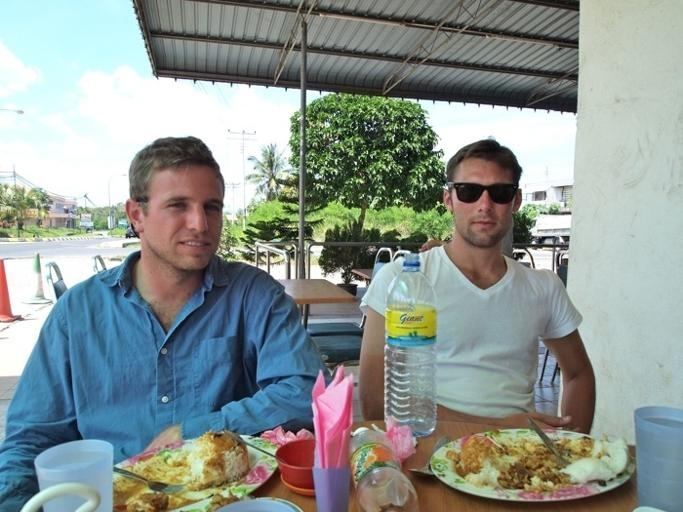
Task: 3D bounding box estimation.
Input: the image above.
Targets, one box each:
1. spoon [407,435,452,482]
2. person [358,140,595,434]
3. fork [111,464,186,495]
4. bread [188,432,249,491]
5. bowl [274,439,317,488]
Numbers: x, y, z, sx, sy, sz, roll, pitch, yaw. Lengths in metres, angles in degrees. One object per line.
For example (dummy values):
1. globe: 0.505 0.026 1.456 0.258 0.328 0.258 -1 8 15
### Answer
1. spoon: 0.266 0.586 1.597 0.050 0.043 0.261 6 16 21
2. person: 0.658 0.197 2.306 0.975 1.420 0.722 3 -10 2
3. fork: -0.557 0.641 1.525 0.202 0.062 0.050 2 3 10
4. bread: -0.362 0.596 1.597 0.140 0.102 0.148 1 -3 -23
5. bowl: -0.132 0.597 1.541 0.099 0.070 0.113 -1 -7 -2
